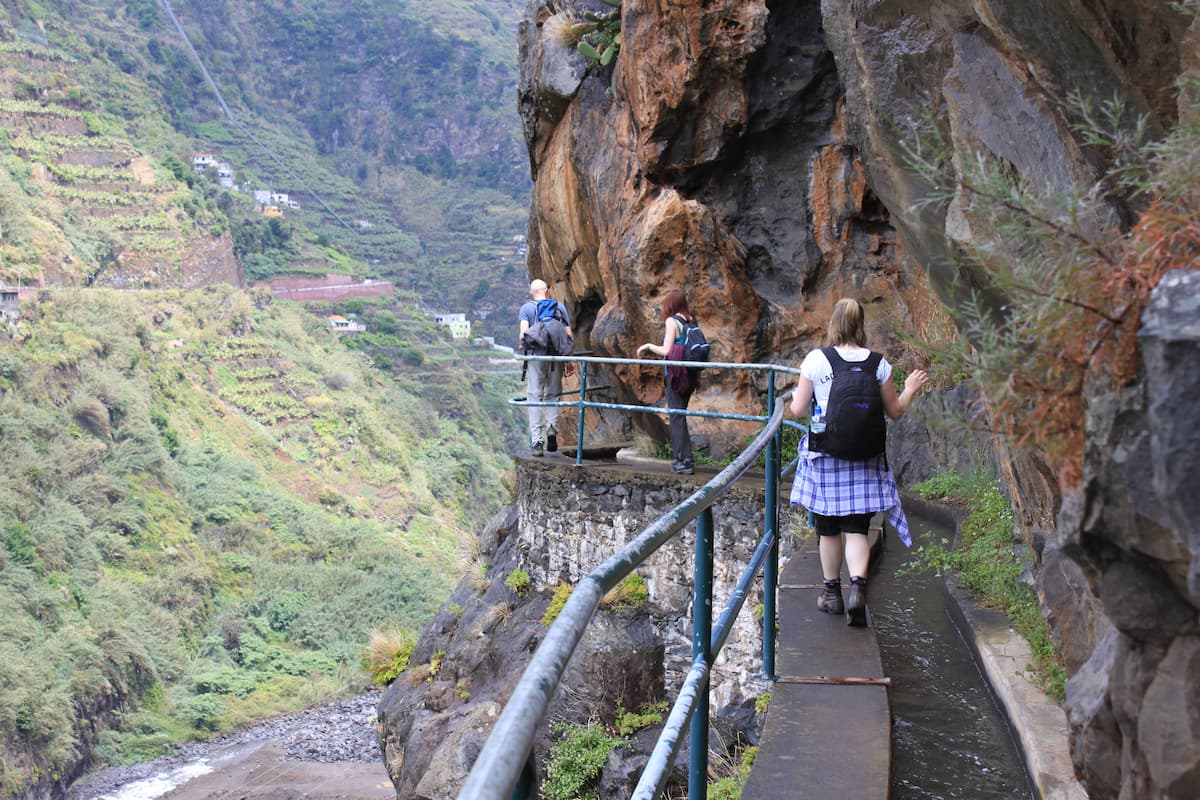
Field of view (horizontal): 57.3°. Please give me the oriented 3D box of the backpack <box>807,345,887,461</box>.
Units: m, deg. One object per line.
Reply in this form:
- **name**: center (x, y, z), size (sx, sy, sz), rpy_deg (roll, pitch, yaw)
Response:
- **backpack**: center (1.564, -0.046, 6.836), size (0.446, 0.682, 0.677), rpy_deg (1, 21, 9)

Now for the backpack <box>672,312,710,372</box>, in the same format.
- **backpack**: center (0.833, -0.522, 10.032), size (0.285, 0.567, 0.375), rpy_deg (-6, -7, 26)

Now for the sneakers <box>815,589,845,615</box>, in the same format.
- **sneakers**: center (1.447, 1.282, 6.947), size (0.091, 0.186, 0.180), rpy_deg (-1, 10, -6)

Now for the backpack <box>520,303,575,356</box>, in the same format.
- **backpack**: center (-0.476, -0.708, 11.275), size (0.582, 0.641, 0.348), rpy_deg (-7, -18, 7)

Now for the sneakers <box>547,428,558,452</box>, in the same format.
- **sneakers**: center (-0.544, 0.464, 12.289), size (0.086, 0.288, 0.120), rpy_deg (0, 37, -2)
